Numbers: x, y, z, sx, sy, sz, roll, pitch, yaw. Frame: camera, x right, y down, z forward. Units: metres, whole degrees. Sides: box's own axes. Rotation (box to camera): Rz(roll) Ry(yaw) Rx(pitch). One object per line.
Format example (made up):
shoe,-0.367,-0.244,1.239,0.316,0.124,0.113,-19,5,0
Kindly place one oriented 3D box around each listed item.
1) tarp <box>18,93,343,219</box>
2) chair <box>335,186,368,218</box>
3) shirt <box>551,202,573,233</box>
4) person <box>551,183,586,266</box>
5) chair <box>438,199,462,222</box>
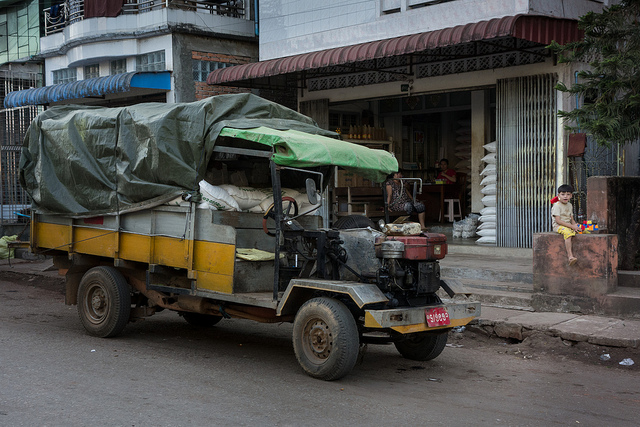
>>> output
tarp,-3.199,-1.000,12.205,4.319,1.620,2.504,2,4,32
chair,1.007,-0.305,19.779,0.851,1.137,0.853,0,-1,-30
shirt,4.581,0.074,13.129,0.520,0.591,0.328,5,-9,-34
person,4.807,0.167,13.032,0.868,1.350,0.891,-2,9,4
chair,4.056,-0.109,21.338,0.621,0.828,0.611,0,-1,-44
